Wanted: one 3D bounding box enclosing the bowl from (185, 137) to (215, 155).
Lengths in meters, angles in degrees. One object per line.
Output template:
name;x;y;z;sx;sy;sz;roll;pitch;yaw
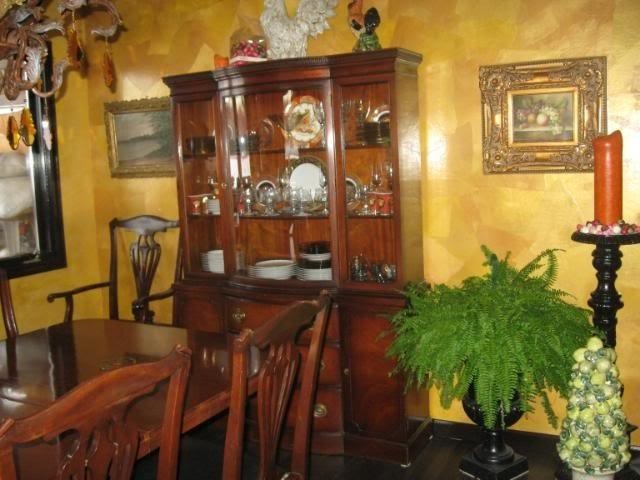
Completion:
bowl;-0.719;-0.564;3.102;0.217;0.108;0.049;1;5;21

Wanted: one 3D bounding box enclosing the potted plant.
potted plant;0.772;0.527;2.717;1.075;1.158;1.126;3;4;42

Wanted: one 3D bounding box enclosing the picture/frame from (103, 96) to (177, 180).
picture/frame;-1.238;-0.725;3.683;0.668;0.569;0.057;0;6;17

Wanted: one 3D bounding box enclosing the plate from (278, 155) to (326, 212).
plate;-0.087;-0.325;2.881;0.329;0.365;0.027;1;5;26

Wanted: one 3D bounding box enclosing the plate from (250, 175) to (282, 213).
plate;-0.300;-0.277;2.970;0.191;0.250;0.090;6;13;20

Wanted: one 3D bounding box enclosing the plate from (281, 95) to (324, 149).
plate;-0.097;-0.658;2.839;0.271;0.262;0.053;9;16;19

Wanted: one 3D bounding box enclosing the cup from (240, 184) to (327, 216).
cup;-0.195;-0.218;2.931;0.473;0.187;0.104;1;1;13

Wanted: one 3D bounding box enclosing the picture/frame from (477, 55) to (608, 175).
picture/frame;1.183;-0.670;2.679;0.751;0.652;0.062;2;11;25

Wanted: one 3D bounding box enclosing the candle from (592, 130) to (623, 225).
candle;1.187;-0.257;2.127;0.119;0.383;0.048;5;10;27
